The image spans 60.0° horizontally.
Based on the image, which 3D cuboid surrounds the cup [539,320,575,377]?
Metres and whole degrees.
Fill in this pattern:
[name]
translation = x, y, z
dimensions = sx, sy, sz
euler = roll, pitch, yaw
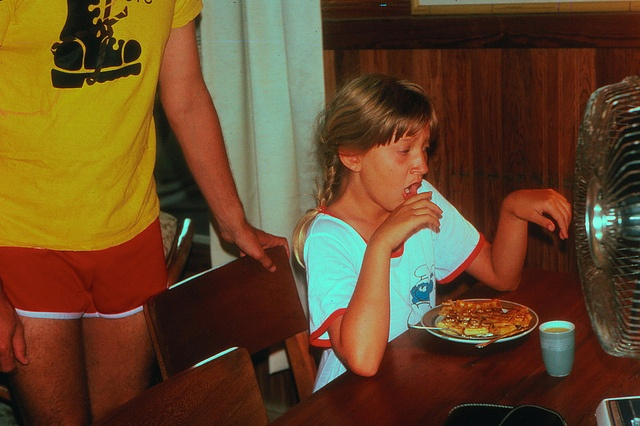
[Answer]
[cup]
translation = 0.521, 0.297, 1.221
dimensions = 0.098, 0.127, 0.104
euler = -1, -6, 0
